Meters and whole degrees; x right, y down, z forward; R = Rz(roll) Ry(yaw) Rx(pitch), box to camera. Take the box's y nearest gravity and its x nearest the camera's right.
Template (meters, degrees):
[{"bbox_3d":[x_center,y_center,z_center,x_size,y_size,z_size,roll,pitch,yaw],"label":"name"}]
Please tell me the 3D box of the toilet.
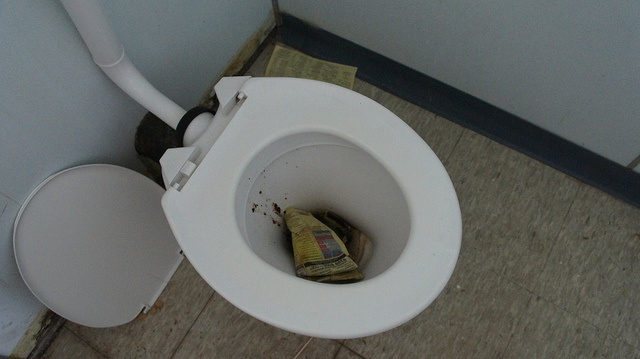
[{"bbox_3d":[-0.026,0.111,1.949,1.076,0.304,0.877,32,80,6],"label":"toilet"}]
